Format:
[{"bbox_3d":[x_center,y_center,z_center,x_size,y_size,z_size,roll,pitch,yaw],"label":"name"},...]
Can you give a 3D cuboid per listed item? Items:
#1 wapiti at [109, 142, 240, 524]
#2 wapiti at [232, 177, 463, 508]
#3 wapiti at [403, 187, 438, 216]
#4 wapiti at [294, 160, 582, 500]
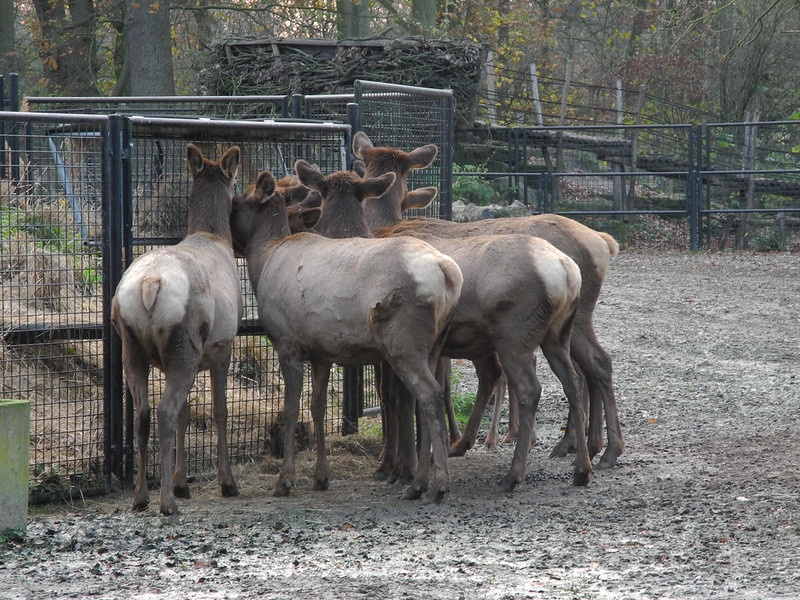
[{"bbox_3d":[-2.201,0.254,14.281,1.041,3.717,1.395,4,6,21],"label":"wapiti"},{"bbox_3d":[-0.582,0.464,14.714,2.857,3.419,1.184,3,4,32],"label":"wapiti"},{"bbox_3d":[0.246,-1.205,15.986,0.470,0.213,0.263,-21,11,11],"label":"wapiti"},{"bbox_3d":[0.223,0.157,15.441,3.821,3.709,1.431,4,4,37],"label":"wapiti"}]
